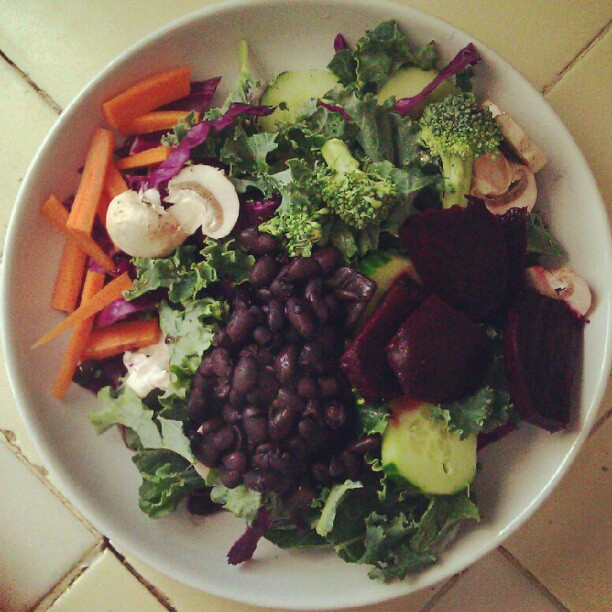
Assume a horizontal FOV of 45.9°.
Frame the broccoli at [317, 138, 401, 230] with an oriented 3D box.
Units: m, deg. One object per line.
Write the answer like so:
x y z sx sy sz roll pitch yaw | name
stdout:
0.129 -0.321 1.977 0.188 0.130 0.229 -24 78 -11 | broccoli

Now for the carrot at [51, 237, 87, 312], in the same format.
-0.670 -0.094 2.052 0.093 0.278 0.067 19 46 -4 | carrot

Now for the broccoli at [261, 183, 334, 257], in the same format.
-0.009 -0.224 1.896 0.188 0.097 0.196 -4 91 7 | broccoli

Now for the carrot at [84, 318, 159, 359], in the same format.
-0.493 0.072 2.059 0.261 0.096 0.060 -10 94 24 | carrot

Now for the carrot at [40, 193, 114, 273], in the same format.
-0.630 -0.210 2.018 0.252 0.044 0.061 46 53 0 | carrot

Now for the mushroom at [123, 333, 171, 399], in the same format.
-0.438 0.167 2.012 0.173 0.063 0.170 -10 86 6 | mushroom

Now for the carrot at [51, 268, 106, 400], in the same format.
-0.633 0.106 2.058 0.095 0.067 0.461 15 92 -13 | carrot

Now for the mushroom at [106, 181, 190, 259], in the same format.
-0.437 -0.215 1.946 0.200 0.084 0.155 38 81 4 | mushroom

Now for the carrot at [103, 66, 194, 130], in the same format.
-0.453 -0.588 2.056 0.325 0.096 0.097 -6 57 19 | carrot

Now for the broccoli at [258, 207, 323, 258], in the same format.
-0.034 -0.199 1.888 0.133 0.058 0.123 42 111 6 | broccoli

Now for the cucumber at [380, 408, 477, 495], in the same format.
0.339 0.387 1.920 0.250 0.269 0.068 0 41 12 | cucumber

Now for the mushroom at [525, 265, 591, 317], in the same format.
0.699 -0.040 2.036 0.167 0.079 0.101 32 92 6 | mushroom

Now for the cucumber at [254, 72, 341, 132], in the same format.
-0.037 -0.598 2.045 0.162 0.051 0.213 41 89 -3 | cucumber
